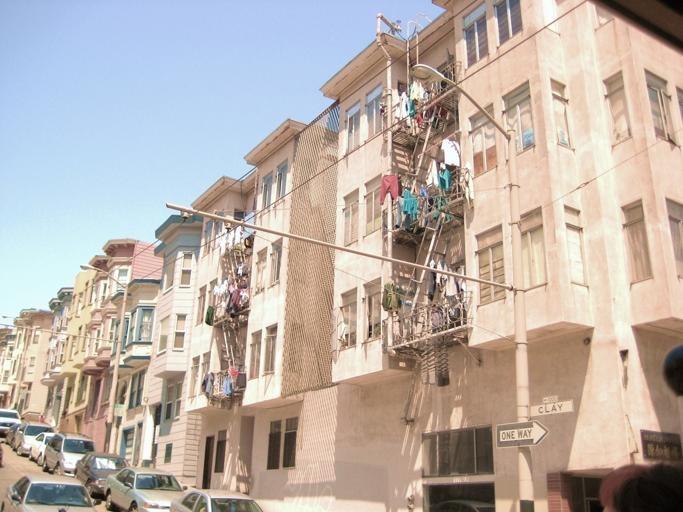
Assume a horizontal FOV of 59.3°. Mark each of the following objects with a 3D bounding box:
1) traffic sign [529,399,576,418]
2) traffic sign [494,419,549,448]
[{"bbox_3d":[4.899,3.500,13.966,0.372,0.329,1.079,20,-33,-33],"label":"traffic sign"},{"bbox_3d":[4.093,4.050,13.710,0.275,0.592,1.417,16,-30,-28],"label":"traffic sign"}]
